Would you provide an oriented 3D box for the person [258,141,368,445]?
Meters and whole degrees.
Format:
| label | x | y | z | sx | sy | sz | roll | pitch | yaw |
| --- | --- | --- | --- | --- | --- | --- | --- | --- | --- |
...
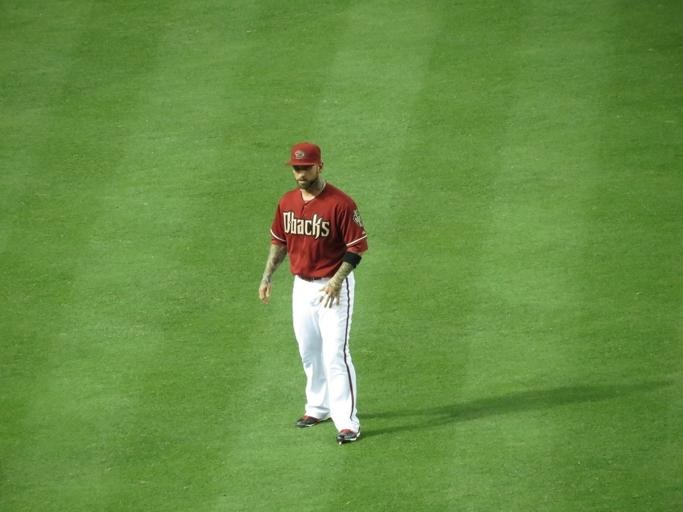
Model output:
| label | x | y | z | sx | sy | sz | roll | pitch | yaw |
| --- | --- | --- | --- | --- | --- | --- | --- | --- | --- |
| person | -0.208 | 0.352 | 11.332 | 1.337 | 2.863 | 0.472 | 18 | 19 | 33 |

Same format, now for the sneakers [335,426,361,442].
| label | x | y | z | sx | sy | sz | roll | pitch | yaw |
| --- | --- | --- | --- | --- | --- | --- | --- | --- | --- |
| sneakers | 0.075 | 1.798 | 11.329 | 0.205 | 0.090 | 0.112 | 3 | -5 | -31 |

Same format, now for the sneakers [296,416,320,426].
| label | x | y | z | sx | sy | sz | roll | pitch | yaw |
| --- | --- | --- | --- | --- | --- | --- | --- | --- | --- |
| sneakers | -0.345 | 1.692 | 11.635 | 0.205 | 0.090 | 0.105 | -4 | 9 | -24 |

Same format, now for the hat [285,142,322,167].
| label | x | y | z | sx | sy | sz | roll | pitch | yaw |
| --- | --- | --- | --- | --- | --- | --- | --- | --- | --- |
| hat | -0.329 | -1.001 | 11.160 | 0.214 | 0.168 | 0.285 | 3 | 10 | 15 |
